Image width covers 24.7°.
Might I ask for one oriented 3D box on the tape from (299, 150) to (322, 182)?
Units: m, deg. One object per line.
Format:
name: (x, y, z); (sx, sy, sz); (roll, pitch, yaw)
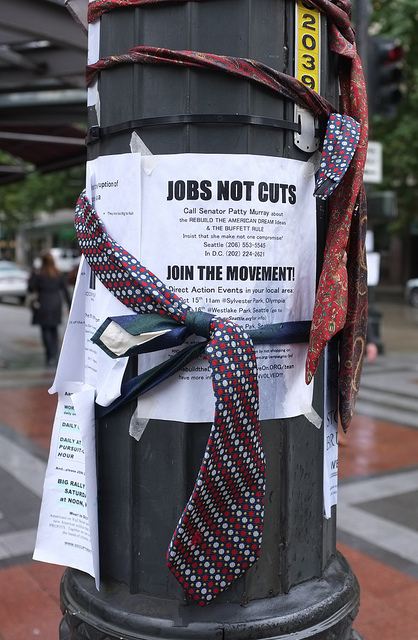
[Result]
tape: (0.305, -0.470, 2.937); (0.033, 0.038, 0.118); (4, 41, 24)

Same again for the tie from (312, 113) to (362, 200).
tie: (0.378, -0.492, 2.901); (0.096, 0.312, 0.078); (22, -22, -17)

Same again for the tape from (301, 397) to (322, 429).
tape: (0.321, 0.301, 3.052); (0.007, 0.076, 0.153); (3, -15, 28)

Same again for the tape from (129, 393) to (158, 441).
tape: (-0.199, 0.296, 2.918); (0.093, 0.148, 0.025); (5, 6, 40)

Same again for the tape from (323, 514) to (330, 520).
tape: (0.384, 0.654, 3.163); (0.013, 0.014, 0.004); (-21, 3, -34)

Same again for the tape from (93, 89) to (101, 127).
tape: (-0.350, -0.671, 2.999); (0.025, 0.101, 0.005); (-10, -17, 5)

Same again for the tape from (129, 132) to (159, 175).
tape: (-0.190, -0.493, 2.848); (0.089, 0.123, 0.018); (3, 5, 30)

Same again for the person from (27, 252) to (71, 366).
person: (-2.037, -0.141, 12.208); (0.531, 1.411, 1.271); (0, 5, -10)
